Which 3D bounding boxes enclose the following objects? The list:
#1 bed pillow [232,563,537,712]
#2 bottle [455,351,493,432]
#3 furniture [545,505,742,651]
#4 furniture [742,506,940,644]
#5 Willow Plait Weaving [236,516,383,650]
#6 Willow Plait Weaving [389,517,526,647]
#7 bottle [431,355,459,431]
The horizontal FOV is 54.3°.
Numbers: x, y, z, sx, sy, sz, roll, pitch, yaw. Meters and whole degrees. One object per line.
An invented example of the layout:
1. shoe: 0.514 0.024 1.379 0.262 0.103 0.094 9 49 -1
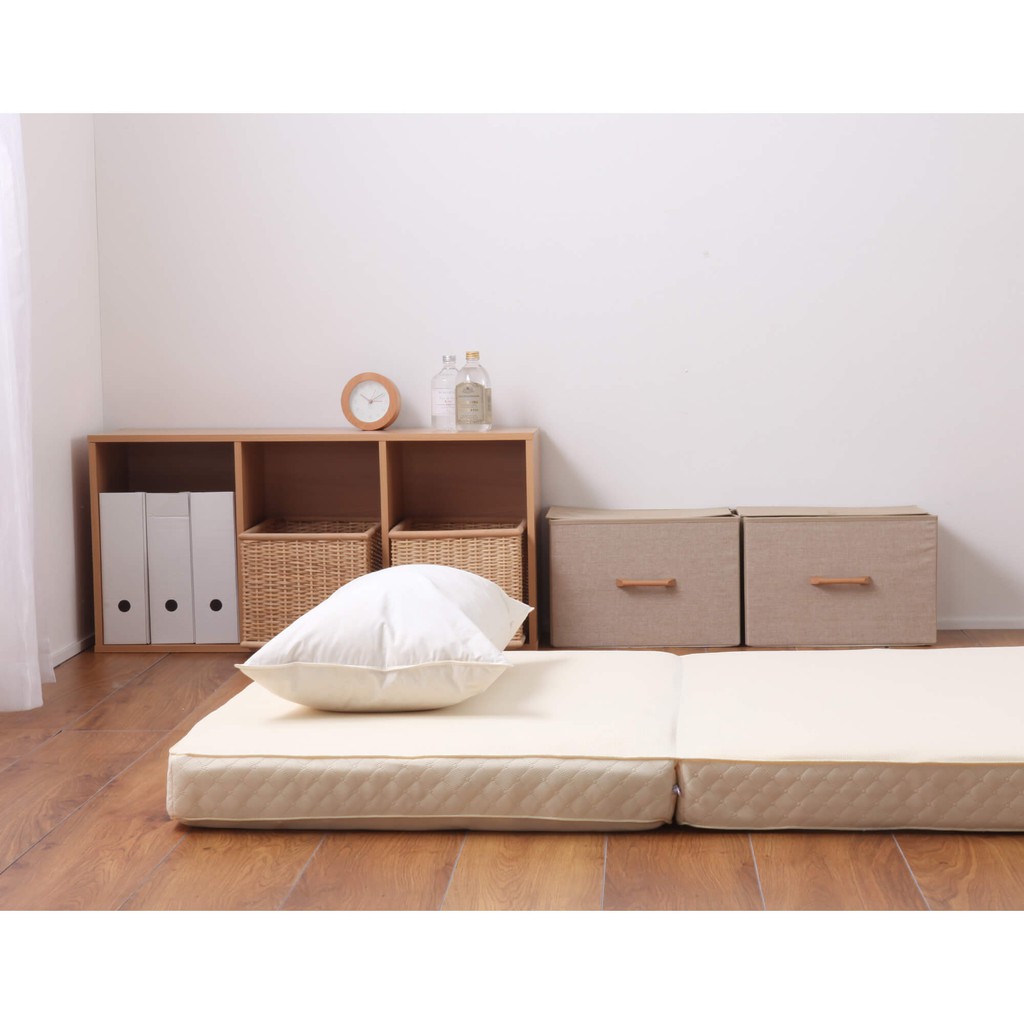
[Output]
1. bed pillow: -0.262 0.255 2.004 0.348 0.162 0.490 -2 0 7
2. bottle: -0.141 -0.403 3.305 0.122 0.260 0.167 -4 9 1
3. furniture: 0.431 0.217 3.296 0.783 0.463 0.433 0 -1 2
4. furniture: 1.040 0.204 3.247 0.768 0.436 0.423 -1 6 3
5. Willow Plait Weaving: -0.879 0.248 3.378 0.688 0.364 0.636 1 -2 -15
6. Willow Plait Weaving: -0.148 0.229 3.261 0.471 0.285 0.421 0 0 2
7. bottle: -0.232 -0.410 3.402 0.097 0.248 0.206 -5 9 -3
